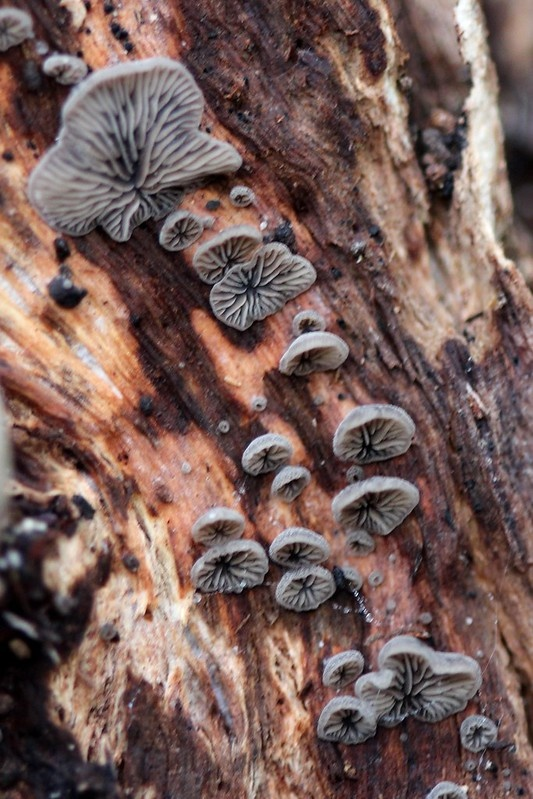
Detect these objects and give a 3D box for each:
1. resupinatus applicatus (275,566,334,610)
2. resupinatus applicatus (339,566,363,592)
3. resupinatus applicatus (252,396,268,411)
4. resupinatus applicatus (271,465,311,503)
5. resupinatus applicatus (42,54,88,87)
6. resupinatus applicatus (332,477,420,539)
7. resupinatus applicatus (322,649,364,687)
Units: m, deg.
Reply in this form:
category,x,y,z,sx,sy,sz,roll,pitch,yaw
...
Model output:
category,x,y,z,sx,sy,sz,roll,pitch,yaw
resupinatus applicatus,0.264,1.303,6.480,0.306,0.343,0.133,-27,49,-7
resupinatus applicatus,0.596,1.237,6.620,0.177,0.048,0.131,58,-8,-11
resupinatus applicatus,-0.052,0.030,6.586,0.114,0.093,0.065,13,31,-7
resupinatus applicatus,0.163,0.575,6.521,0.224,0.242,0.096,7,31,-43
resupinatus applicatus,-1.263,-2.066,5.955,0.194,0.206,0.080,-6,46,7
resupinatus applicatus,0.738,0.751,6.536,0.548,0.512,0.175,14,30,-4
resupinatus applicatus,0.514,1.838,6.453,0.234,0.237,0.078,32,24,-46
